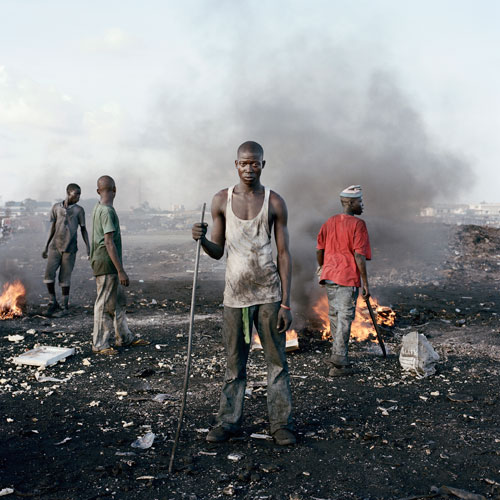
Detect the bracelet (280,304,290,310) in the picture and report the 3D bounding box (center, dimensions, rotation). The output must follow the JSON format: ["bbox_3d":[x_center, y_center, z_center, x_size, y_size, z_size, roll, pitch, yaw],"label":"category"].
[{"bbox_3d":[0.269,0.409,3.864,0.043,0.012,0.042,24,9,-47],"label":"bracelet"}]

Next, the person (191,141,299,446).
[{"bbox_3d":[-0.008,0.306,3.919,0.698,2.191,0.434,0,6,4],"label":"person"}]

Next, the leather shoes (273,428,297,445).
[{"bbox_3d":[0.245,1.353,3.862,0.177,0.098,0.146,1,6,8],"label":"leather shoes"}]

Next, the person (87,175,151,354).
[{"bbox_3d":[-1.558,0.174,5.990,0.577,2.010,0.881,-1,6,-10],"label":"person"}]

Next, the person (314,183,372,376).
[{"bbox_3d":[0.987,0.439,5.533,0.513,1.616,0.610,0,6,-3],"label":"person"}]

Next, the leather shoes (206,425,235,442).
[{"bbox_3d":[-0.222,1.359,3.928,0.235,0.104,0.088,10,-11,-36],"label":"leather shoes"}]
